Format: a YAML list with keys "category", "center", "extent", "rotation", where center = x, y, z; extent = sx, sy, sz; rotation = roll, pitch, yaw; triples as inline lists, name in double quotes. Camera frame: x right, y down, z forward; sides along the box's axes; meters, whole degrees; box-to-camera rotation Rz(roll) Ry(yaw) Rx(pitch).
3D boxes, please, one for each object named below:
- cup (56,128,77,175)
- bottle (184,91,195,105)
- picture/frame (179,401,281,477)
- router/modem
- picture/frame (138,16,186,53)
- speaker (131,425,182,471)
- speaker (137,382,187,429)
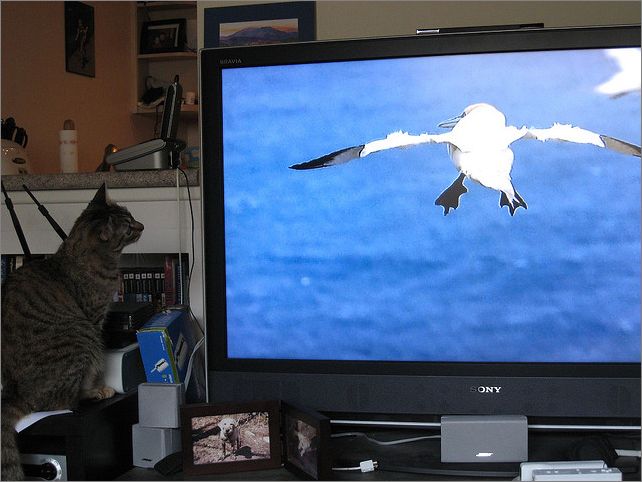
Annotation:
- category: "cup"
  center: [-0.909, -0.327, 2.543]
  extent: [0.059, 0.147, 0.090]
  rotation: [-3, 9, -22]
- category: "bottle"
  center: [-0.869, -0.956, 4.725]
  extent: [0.077, 0.084, 0.081]
  rotation: [1, -2, -2]
- category: "picture/frame"
  center: [-0.226, 0.488, 1.739]
  extent: [0.180, 0.131, 0.019]
  rotation: [-2, 1, -3]
- category: "router/modem"
  center: [0.396, 0.480, 1.775]
  extent: [0.221, 0.111, 0.109]
  rotation: [0, -7, 5]
- category: "picture/frame"
  center: [-1.141, -1.480, 5.109]
  extent: [0.306, 0.223, 0.043]
  rotation: [0, -9, 14]
- category: "speaker"
  center: [-0.438, 0.527, 1.802]
  extent: [0.096, 0.067, 0.097]
  rotation: [-9, -23, 23]
- category: "speaker"
  center: [-0.396, 0.409, 1.761]
  extent: [0.118, 0.111, 0.063]
  rotation: [1, 0, 5]
